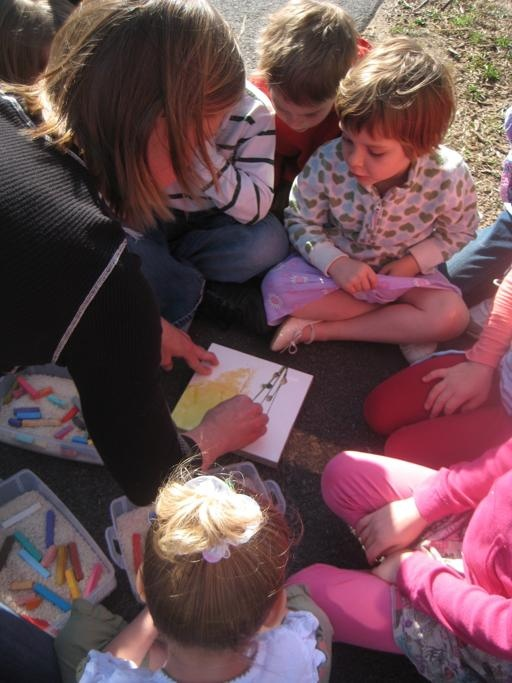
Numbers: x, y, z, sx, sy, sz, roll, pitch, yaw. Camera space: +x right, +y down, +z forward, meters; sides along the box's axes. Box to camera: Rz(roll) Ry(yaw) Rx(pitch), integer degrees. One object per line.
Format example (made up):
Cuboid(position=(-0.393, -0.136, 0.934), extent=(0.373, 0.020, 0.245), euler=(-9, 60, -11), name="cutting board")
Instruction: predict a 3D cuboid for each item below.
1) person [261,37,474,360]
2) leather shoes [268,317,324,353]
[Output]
Cuboid(position=(0.314, -0.391, 1.667), extent=(0.686, 0.794, 0.577), euler=(-14, 41, -5), name="person")
Cuboid(position=(0.124, -0.024, 1.821), extent=(0.065, 0.079, 0.163), euler=(38, 68, 5), name="leather shoes")
